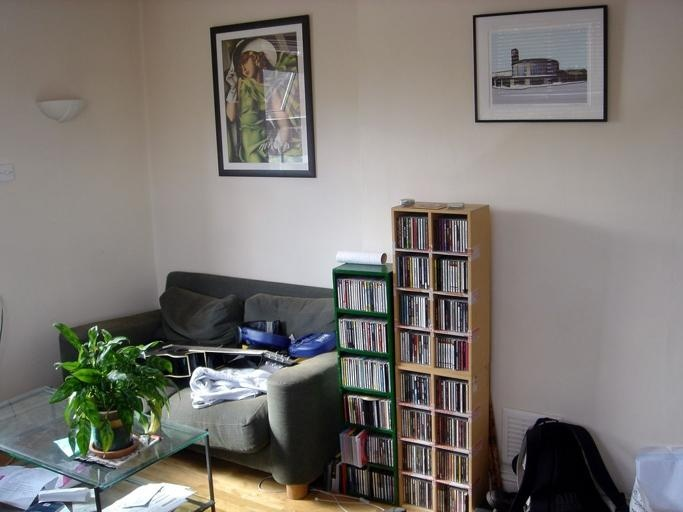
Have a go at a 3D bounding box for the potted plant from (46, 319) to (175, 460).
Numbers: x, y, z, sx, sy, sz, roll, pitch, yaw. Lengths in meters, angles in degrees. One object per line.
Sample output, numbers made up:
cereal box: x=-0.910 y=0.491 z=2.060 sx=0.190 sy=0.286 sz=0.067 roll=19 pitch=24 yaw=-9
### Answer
potted plant: x=-1.117 y=0.593 z=2.671 sx=0.604 sy=0.575 sz=0.631 roll=3 pitch=3 yaw=8

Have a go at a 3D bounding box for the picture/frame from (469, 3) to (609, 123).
picture/frame: x=1.085 y=-1.039 z=2.823 sx=0.667 sy=0.556 sz=0.016 roll=3 pitch=12 yaw=31

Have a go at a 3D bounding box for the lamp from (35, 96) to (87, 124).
lamp: x=-2.085 y=-1.086 z=3.944 sx=0.315 sy=0.185 sz=0.091 roll=-3 pitch=7 yaw=-32

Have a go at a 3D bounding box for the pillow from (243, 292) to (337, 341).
pillow: x=-0.330 y=0.423 z=3.727 sx=0.535 sy=0.307 sz=0.182 roll=8 pitch=-13 yaw=27
